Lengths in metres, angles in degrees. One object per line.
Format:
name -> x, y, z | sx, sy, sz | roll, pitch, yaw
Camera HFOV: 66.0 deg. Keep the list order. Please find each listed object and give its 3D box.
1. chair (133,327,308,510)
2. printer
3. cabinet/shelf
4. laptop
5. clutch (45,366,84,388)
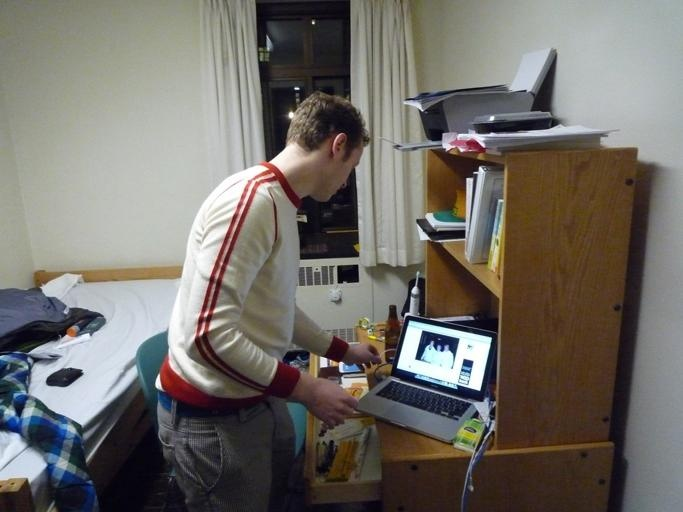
chair -> -0.447, 0.570, 2.586 | 0.758, 1.045, 0.688 | -3, 11, 18
printer -> 0.474, -0.556, 2.105 | 0.312, 0.192, 0.547 | -9, 17, -31
cabinet/shelf -> 0.653, 0.161, 1.796 | 0.362, 1.016, 1.014 | -1, 9, 0
laptop -> 0.304, 0.369, 1.969 | 0.425, 0.295, 0.439 | 9, 30, 39
clutch -> -1.390, 0.613, 2.648 | 0.132, 0.045, 0.145 | 3, 15, 14
